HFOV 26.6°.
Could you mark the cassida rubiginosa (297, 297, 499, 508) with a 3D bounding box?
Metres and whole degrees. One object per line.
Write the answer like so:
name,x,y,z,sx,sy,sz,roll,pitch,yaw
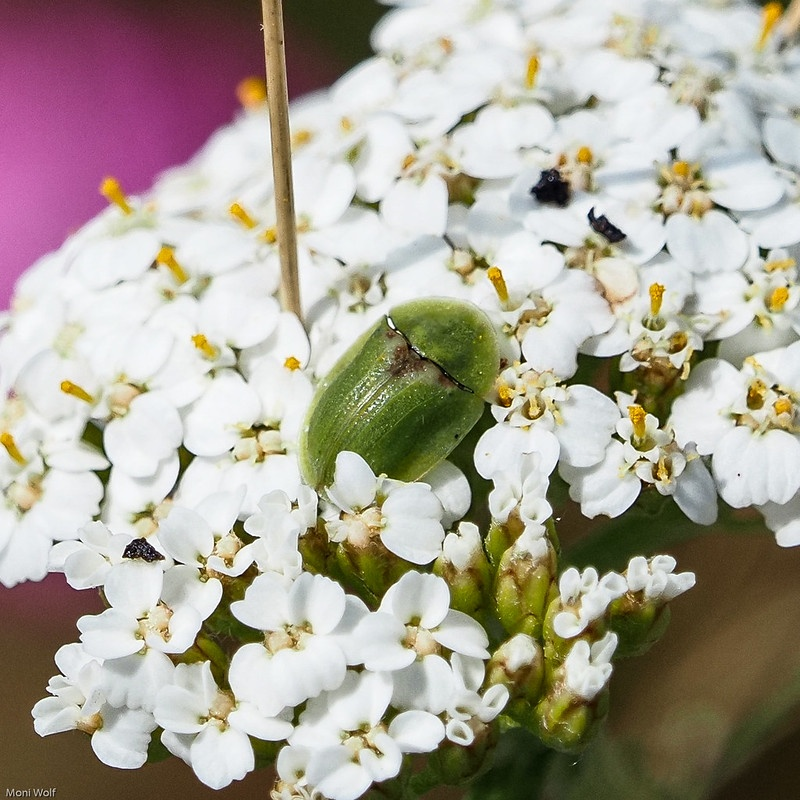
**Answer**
cassida rubiginosa,-0.002,-0.004,1.349,0.187,0.058,0.129,-45,65,-9
